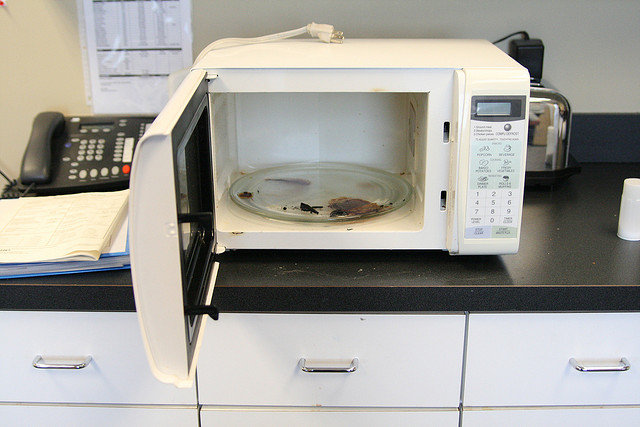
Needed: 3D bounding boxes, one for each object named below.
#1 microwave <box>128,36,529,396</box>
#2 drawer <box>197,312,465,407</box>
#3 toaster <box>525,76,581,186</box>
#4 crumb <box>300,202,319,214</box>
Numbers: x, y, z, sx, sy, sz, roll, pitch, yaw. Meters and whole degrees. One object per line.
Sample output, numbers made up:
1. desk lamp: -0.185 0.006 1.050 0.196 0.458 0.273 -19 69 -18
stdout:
1. microwave: 0.039 -0.127 1.448 0.845 0.515 1.078 1 22 2
2. drawer: 0.019 0.278 1.569 0.661 0.276 0.376 1 25 -4
3. toaster: 0.647 -0.209 1.738 0.179 0.340 0.185 5 29 10
4. crumb: -0.032 -0.014 1.508 0.036 0.008 0.020 24 25 38
